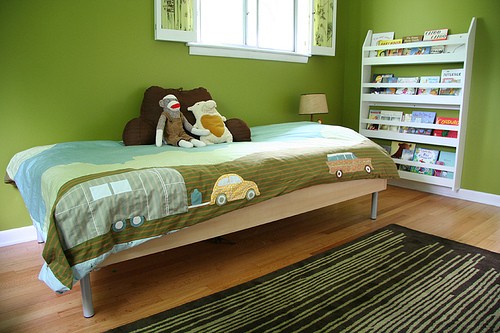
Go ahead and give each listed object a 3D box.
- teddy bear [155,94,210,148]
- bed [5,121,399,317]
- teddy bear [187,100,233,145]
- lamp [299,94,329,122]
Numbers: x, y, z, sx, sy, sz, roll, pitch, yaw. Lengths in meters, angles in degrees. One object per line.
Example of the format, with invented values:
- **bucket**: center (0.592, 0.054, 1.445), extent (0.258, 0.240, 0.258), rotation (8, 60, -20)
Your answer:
- **teddy bear**: center (-0.616, -0.407, 3.124), extent (0.494, 0.456, 0.417), rotation (10, 19, 12)
- **bed**: center (-0.256, 0.182, 2.824), extent (2.445, 0.666, 1.475), rotation (-12, 23, -29)
- **teddy bear**: center (-0.395, -0.449, 3.368), extent (0.391, 0.218, 0.500), rotation (-10, 63, -23)
- **lamp**: center (0.724, -0.726, 4.203), extent (0.323, 0.384, 0.290), rotation (-13, 20, -26)
